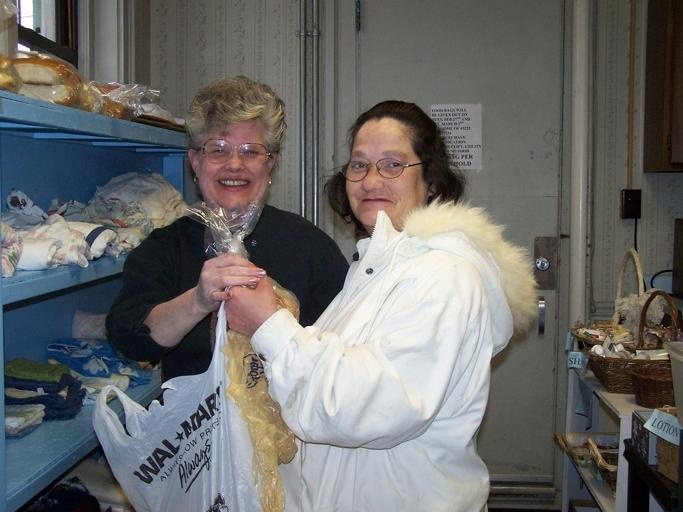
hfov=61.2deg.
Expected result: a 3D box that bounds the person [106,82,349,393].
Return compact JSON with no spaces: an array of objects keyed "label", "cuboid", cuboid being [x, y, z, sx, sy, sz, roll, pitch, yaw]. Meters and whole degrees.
[{"label":"person","cuboid":[-0.369,0.036,2.070,0.825,1.341,0.716,-2,3,-22]}]

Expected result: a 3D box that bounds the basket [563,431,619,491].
[{"label":"basket","cuboid":[1.129,0.914,2.585,0.147,0.221,0.062,1,-7,-31]}]
